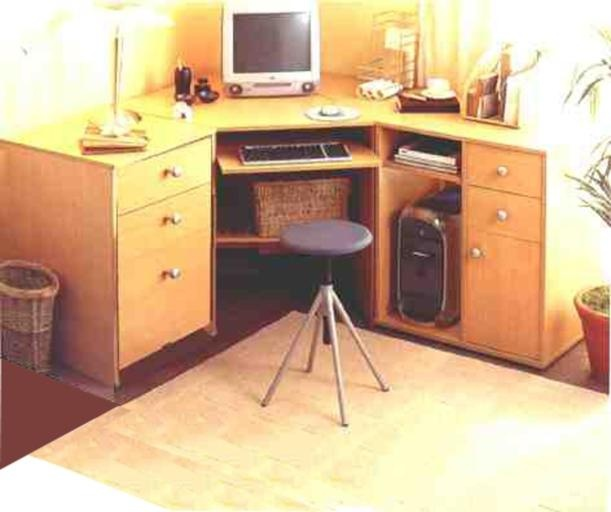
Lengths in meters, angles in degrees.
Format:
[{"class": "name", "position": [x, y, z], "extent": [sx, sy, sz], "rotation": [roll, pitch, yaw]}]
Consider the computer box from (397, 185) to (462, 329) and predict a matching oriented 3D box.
[{"class": "computer box", "position": [0.589, 0.004, 2.867], "extent": [0.371, 0.492, 0.335], "rotation": [-8, 14, -29]}]

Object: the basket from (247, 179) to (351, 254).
[{"class": "basket", "position": [-0.036, -0.223, 2.861], "extent": [0.482, 0.302, 0.108], "rotation": [-3, 17, -7]}]

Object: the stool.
[{"class": "stool", "position": [0.086, 0.240, 2.295], "extent": [0.542, 0.625, 0.537], "rotation": [-1, 5, -14]}]

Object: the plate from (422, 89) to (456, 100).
[{"class": "plate", "position": [0.647, -0.776, 2.848], "extent": [0.117, 0.032, 0.084], "rotation": [0, 22, 0]}]
